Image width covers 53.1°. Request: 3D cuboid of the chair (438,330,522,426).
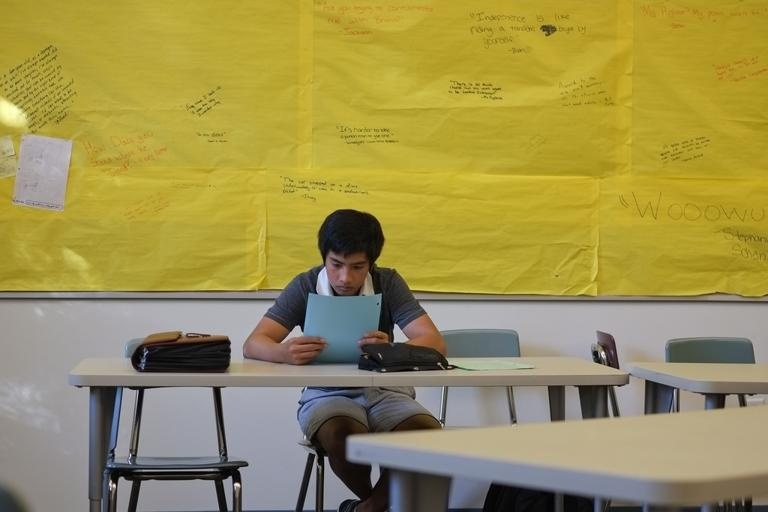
[{"bbox_3d":[0.453,0.670,4.142,0.489,0.632,0.463,0,-15,1],"label":"chair"}]
